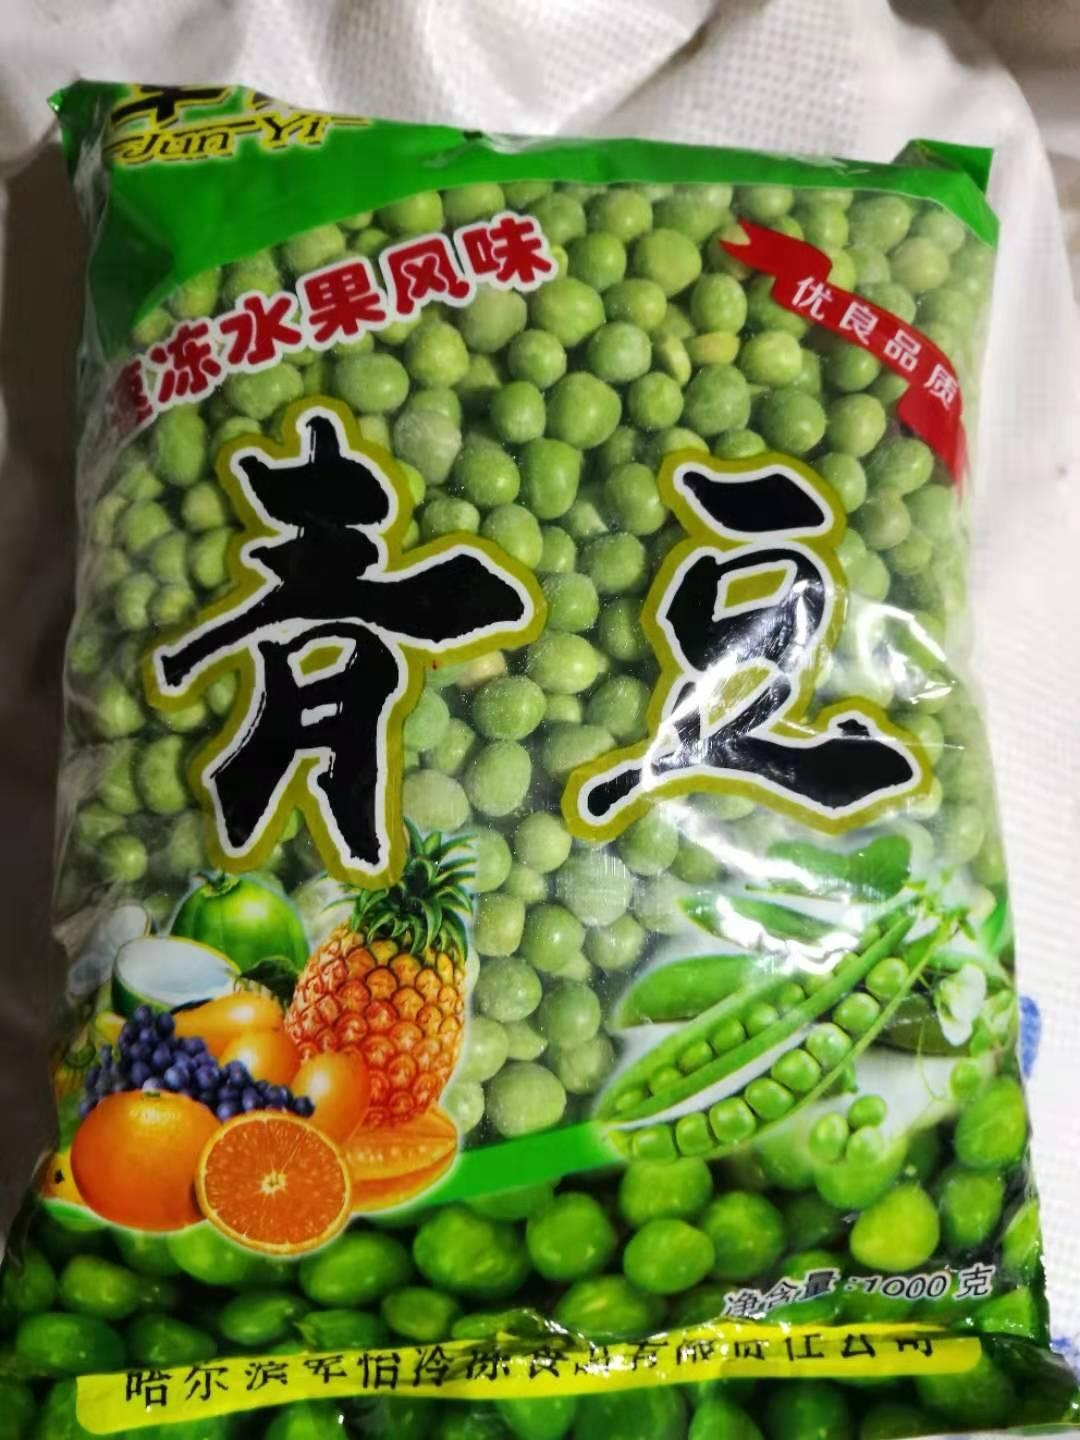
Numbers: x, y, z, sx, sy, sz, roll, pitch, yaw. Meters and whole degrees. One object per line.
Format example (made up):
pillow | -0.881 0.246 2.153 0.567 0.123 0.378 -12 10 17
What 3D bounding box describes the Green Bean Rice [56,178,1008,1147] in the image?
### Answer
Green Bean Rice | -0.011 -0.017 0.811 0.630 0.164 0.575 1 88 -1
